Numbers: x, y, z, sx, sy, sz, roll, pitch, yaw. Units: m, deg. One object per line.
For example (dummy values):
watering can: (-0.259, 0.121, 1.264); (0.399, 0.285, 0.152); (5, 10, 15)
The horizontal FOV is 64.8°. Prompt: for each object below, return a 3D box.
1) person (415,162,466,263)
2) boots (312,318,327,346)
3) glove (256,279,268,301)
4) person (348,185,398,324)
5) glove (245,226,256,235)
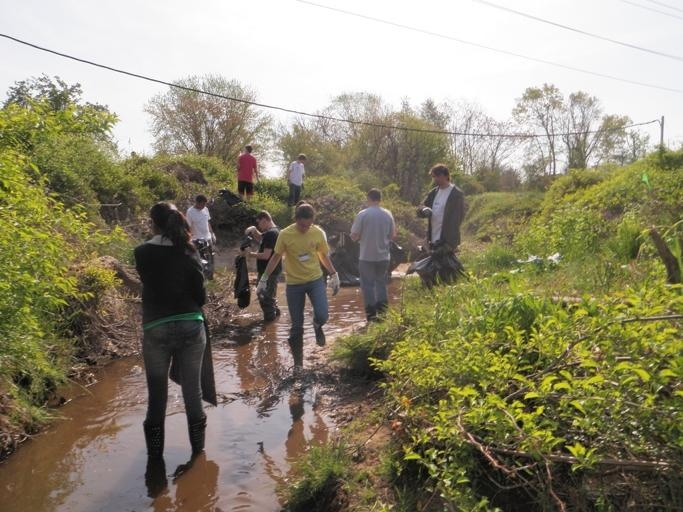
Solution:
person: (1.768, -0.793, 9.494); (0.767, 1.671, 0.857); (2, 14, 10)
boots: (-0.346, 1.159, 8.141); (0.146, 0.484, 0.189); (-5, 15, 7)
glove: (-1.425, 0.572, 9.473); (0.109, 0.357, 0.243); (10, 5, -2)
person: (0.513, 0.023, 9.128); (0.696, 2.252, 0.769); (2, 14, 11)
glove: (-1.768, -0.499, 10.303); (0.196, 0.102, 0.272); (-6, 6, -17)
